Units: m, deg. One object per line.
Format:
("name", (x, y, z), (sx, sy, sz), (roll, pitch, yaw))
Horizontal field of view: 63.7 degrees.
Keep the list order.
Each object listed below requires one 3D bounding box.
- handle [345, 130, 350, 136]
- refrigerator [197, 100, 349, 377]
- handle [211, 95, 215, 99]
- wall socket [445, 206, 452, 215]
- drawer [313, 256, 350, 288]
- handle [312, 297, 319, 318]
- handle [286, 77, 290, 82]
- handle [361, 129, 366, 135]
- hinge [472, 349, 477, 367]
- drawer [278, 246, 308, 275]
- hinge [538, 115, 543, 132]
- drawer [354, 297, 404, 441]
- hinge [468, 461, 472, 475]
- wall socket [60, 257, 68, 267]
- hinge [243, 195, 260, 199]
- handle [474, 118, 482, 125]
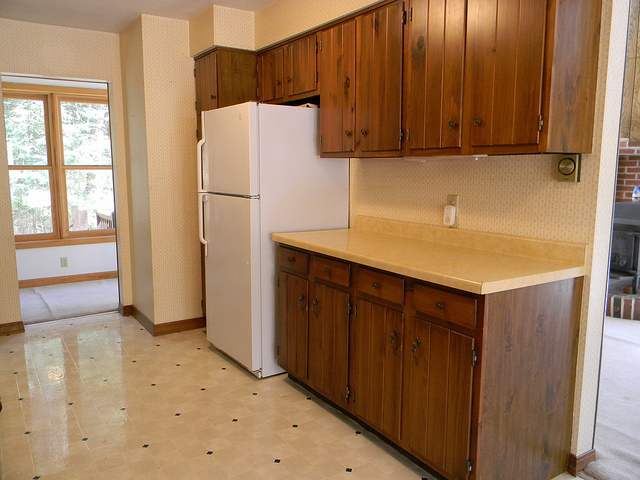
("handle", (0.194, -0.749, 3.628), (0.007, 0.031, 0.031), (-1, 7, -26))
("refrigerator", (-0.417, -0.192, 4.302), (0.995, 2.380, 1.008), (-5, 9, -36))
("handle", (-0.926, -1.226, 4.454), (0.024, 0.032, 0.043), (-5, 11, -27))
("wall socket", (0.843, -0.188, 3.384), (0.047, 0.067, 0.035), (3, 5, 43))
("drawer", (0.118, 0.188, 3.380), (0.299, 0.146, 0.202), (12, 14, 34))
("handle", (-0.033, 0.466, 3.472), (0.019, 0.083, 0.062), (1, 6, 23))
("handle", (-0.253, -1.273, 4.124), (0.023, 0.017, 0.014), (-45, -8, 12))
("handle", (0.294, -0.732, 3.517), (0.024, 0.034, 0.015), (-5, 3, 38))
("hinge", (0.762, 0.580, 2.536), (0.022, 0.082, 0.013), (2, 10, 17))
("drawer", (-0.183, 0.129, 3.631), (0.162, 0.130, 0.256), (-1, 3, -35))
("hinge", (1.109, -0.583, 2.590), (0.020, 0.080, 0.007), (1, 10, 16))
("drawer", (0.344, 0.751, 3.022), (0.261, 0.699, 0.327), (-1, 10, -12))
("hinge", (0.752, 1.141, 2.580), (0.018, 0.069, 0.007), (1, 10, 11))
("wall socket", (-3.221, 0.278, 6.475), (0.110, 0.155, 0.020), (-3, 9, -32))
("hinge", (-0.499, -0.304, 3.712), (0.118, 0.027, 0.048), (2, 10, 22))
("handle", (0.863, -0.644, 2.814), (0.038, 0.040, 0.009), (3, 10, 40))
